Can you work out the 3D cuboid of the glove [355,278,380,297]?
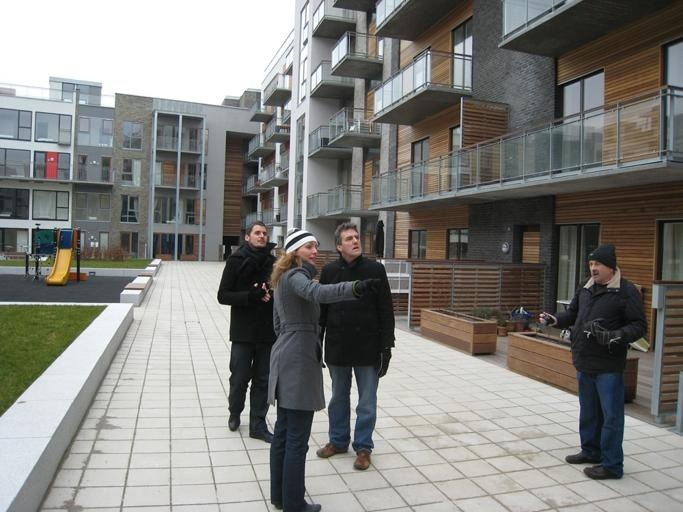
[{"bbox_3d":[0.209,0.244,4.107,0.200,0.152,0.193,4,5,24],"label":"glove"}]

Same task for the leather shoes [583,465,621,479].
[{"bbox_3d":[2.678,2.209,5.447,0.350,0.130,0.137,3,-6,5],"label":"leather shoes"}]

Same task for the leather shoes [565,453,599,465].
[{"bbox_3d":[2.567,2.170,5.689,0.356,0.143,0.127,3,-8,3],"label":"leather shoes"}]

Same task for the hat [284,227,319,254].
[{"bbox_3d":[-0.397,-0.146,4.779,0.238,0.186,0.232,-9,15,-42],"label":"hat"}]

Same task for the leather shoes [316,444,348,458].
[{"bbox_3d":[-0.119,2.097,5.647,0.372,0.139,0.121,6,-6,-23],"label":"leather shoes"}]

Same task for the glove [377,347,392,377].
[{"bbox_3d":[0.453,1.113,5.548,0.099,0.207,0.290,11,45,3],"label":"glove"}]

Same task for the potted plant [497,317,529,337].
[{"bbox_3d":[3.969,1.648,12.233,0.745,0.411,0.273,2,5,3],"label":"potted plant"}]

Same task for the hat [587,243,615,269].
[{"bbox_3d":[2.852,0.006,5.732,0.310,0.224,0.221,16,-7,-11],"label":"hat"}]

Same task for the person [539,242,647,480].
[{"bbox_3d":[2.682,1.071,5.622,0.602,2.379,0.783,-2,6,-39],"label":"person"}]
